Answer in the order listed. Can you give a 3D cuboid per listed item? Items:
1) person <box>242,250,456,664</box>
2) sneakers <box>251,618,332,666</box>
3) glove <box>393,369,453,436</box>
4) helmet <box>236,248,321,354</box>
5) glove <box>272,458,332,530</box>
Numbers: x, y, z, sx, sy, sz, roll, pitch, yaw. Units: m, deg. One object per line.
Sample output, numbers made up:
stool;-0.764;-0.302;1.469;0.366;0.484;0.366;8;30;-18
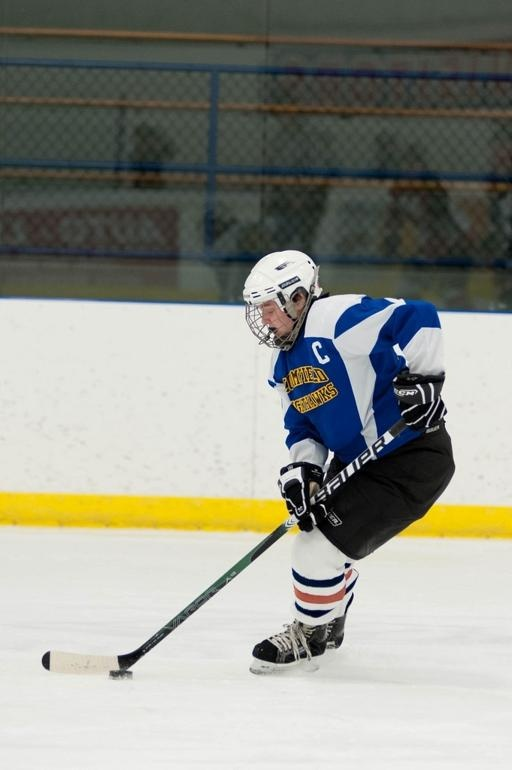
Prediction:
person;0.245;0.206;2.787;0.581;1.145;0.529;-2;-8;11
sneakers;0.098;0.712;2.841;0.276;0.100;0.091;-4;8;-29
glove;0.422;0.039;2.657;0.169;0.167;0.162;-4;16;18
helmet;0.086;-0.238;2.800;0.249;0.236;0.210;-13;5;-28
glove;0.121;0.289;2.761;0.118;0.185;0.083;-34;-48;15
